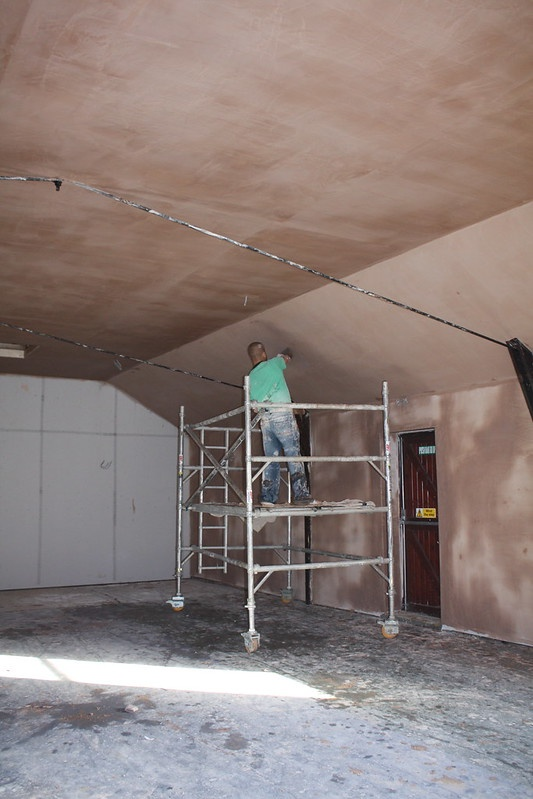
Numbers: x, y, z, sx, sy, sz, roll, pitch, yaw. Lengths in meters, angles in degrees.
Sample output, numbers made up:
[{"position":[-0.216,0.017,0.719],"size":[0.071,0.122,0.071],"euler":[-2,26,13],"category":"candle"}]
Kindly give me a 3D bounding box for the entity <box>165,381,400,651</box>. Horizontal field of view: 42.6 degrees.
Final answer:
[{"position":[0.198,0.997,5.878],"size":[1.477,1.883,2.242],"euler":[6,-8,-22],"category":"entity"}]

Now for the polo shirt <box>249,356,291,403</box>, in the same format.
[{"position":[0.031,-0.153,5.115],"size":[0.279,0.396,0.377],"euler":[1,-10,-3],"category":"polo shirt"}]

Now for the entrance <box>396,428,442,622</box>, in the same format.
[{"position":[1.237,0.992,5.579],"size":[0.140,1.463,0.483],"euler":[4,-11,-20],"category":"entrance"}]
